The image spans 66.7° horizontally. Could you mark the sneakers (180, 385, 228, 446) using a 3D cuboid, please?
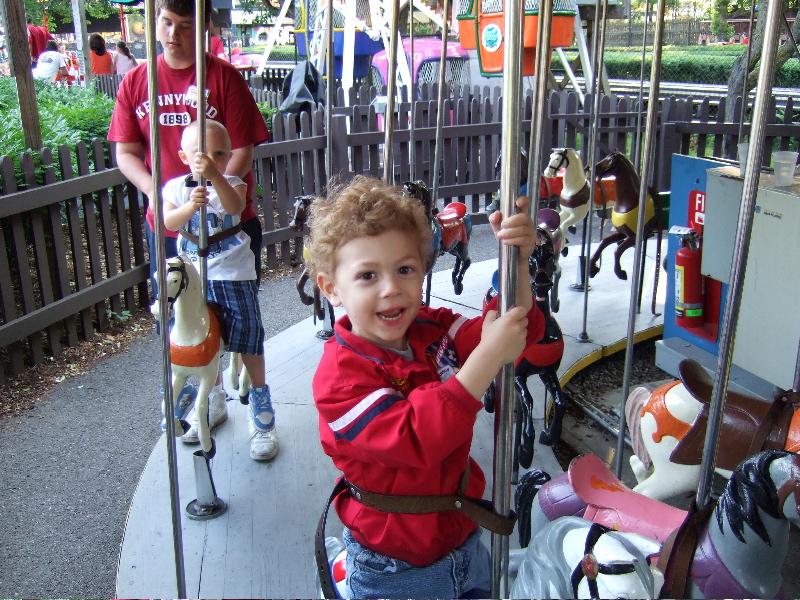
[{"bbox_3d":[-1.133,0.657,3.243,0.110,0.227,0.351,-25,-3,-17],"label":"sneakers"}]

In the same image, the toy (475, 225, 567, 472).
[{"bbox_3d":[0.721,0.258,2.902,0.241,1.028,1.225,2,-2,14],"label":"toy"}]
